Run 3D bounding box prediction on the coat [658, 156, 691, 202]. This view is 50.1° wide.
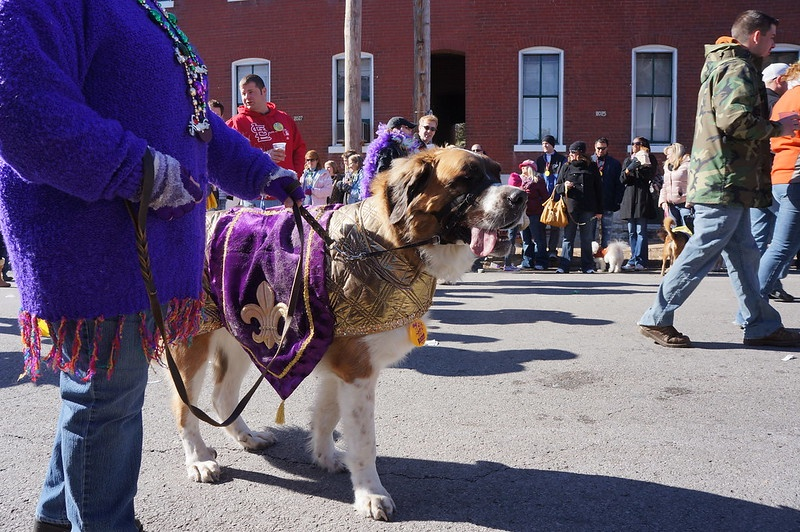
[{"bbox_3d":[4.546,-1.423,14.061,0.665,0.752,0.372,-6,-2,40],"label":"coat"}]

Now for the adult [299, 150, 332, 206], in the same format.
[{"bbox_3d":[-1.365,-1.092,13.313,0.539,1.334,0.453,-1,-6,7],"label":"adult"}]

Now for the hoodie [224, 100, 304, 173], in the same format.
[{"bbox_3d":[-1.607,-1.484,10.249,0.823,0.836,0.328,-2,4,24],"label":"hoodie"}]

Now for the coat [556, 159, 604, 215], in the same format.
[{"bbox_3d":[3.024,-1.266,14.309,0.878,1.083,0.572,-1,-2,4],"label":"coat"}]

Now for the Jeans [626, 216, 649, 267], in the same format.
[{"bbox_3d":[4.162,-0.472,15.020,0.248,1.046,0.305,1,-10,17],"label":"Jeans"}]

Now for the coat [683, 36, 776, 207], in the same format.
[{"bbox_3d":[3.280,-1.301,8.190,0.930,1.617,1.149,2,-1,17],"label":"coat"}]

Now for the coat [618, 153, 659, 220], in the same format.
[{"bbox_3d":[4.096,-1.340,14.722,0.559,1.337,0.597,-4,-14,40],"label":"coat"}]

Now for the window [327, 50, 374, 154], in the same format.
[{"bbox_3d":[-1.164,-3.988,21.177,1.015,2.608,0.271,1,41,-3],"label":"window"}]

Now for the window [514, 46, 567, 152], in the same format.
[{"bbox_3d":[3.393,-3.940,20.447,1.106,2.361,0.678,2,14,9],"label":"window"}]
